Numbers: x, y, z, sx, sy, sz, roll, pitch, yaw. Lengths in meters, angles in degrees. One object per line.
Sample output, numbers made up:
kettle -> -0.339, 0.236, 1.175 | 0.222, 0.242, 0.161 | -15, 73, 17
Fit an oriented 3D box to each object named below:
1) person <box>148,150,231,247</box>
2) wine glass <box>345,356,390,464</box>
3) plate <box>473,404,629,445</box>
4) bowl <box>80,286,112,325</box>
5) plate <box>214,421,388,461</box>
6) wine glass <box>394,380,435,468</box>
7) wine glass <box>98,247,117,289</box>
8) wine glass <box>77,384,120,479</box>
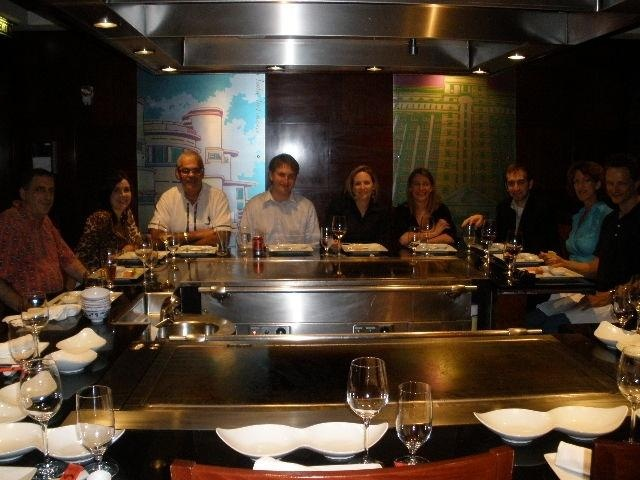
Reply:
person -> -1.132, -0.348, 4.493 | 0.742, 0.775, 0.532 | 0, 18, -18
wine glass -> 0.124, 0.420, 1.384 | 0.103, 0.219, 0.271 | 0, 5, 6
plate -> 0.630, 0.494, 1.411 | 0.373, 0.067, 0.147 | -3, 4, -1
bowl -> -0.947, 0.274, 2.202 | 0.140, 0.147, 0.138 | 1, -1, 0
plate -> -0.043, 0.510, 1.339 | 0.442, 0.078, 0.150 | 0, 7, -5
wine glass -> 0.237, 0.440, 1.311 | 0.083, 0.183, 0.178 | 1, 5, 14
wine glass -> -1.057, 0.148, 2.607 | 0.072, 0.179, 0.075 | 1, 5, 24
wine glass -> -0.540, 0.453, 1.255 | 0.084, 0.197, 0.136 | -3, 6, -26
